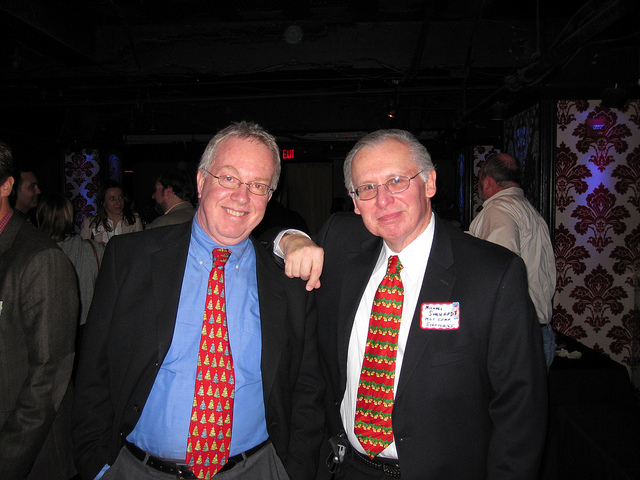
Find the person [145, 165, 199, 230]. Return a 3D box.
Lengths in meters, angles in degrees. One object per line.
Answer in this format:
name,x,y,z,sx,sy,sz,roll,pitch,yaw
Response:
person,-1.450,-0.324,5.054,0.538,0.779,0.880,-1,-4,-3

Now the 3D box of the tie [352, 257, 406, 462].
tie,0.291,0.548,2.412,0.182,0.937,0.113,4,-3,6

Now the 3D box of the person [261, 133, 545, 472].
person,0.474,0.337,2.455,1.211,1.752,0.389,3,-3,23
